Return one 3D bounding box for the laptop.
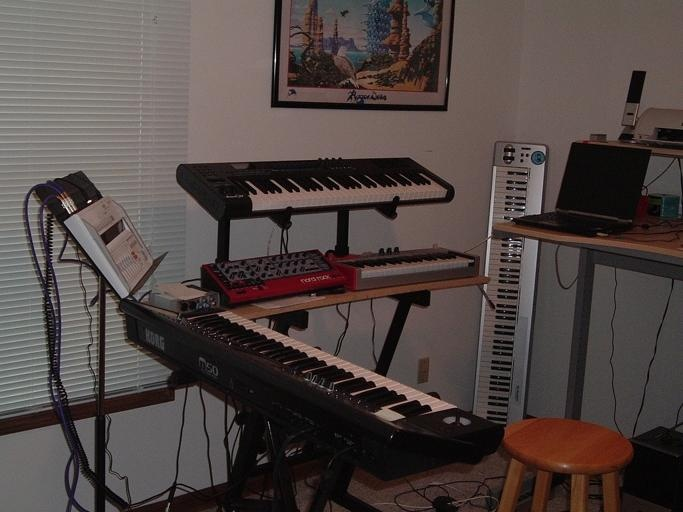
[{"bbox_3d":[1.312,-0.345,3.024,0.634,0.440,0.561,-8,16,-36],"label":"laptop"}]

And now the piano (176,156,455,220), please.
[{"bbox_3d":[-0.097,-0.327,2.709,1.246,0.255,0.416,-5,13,-31],"label":"piano"}]
